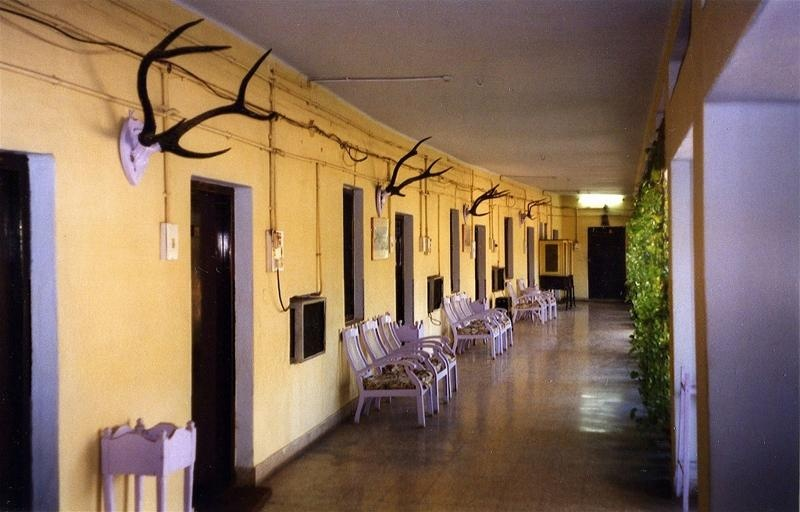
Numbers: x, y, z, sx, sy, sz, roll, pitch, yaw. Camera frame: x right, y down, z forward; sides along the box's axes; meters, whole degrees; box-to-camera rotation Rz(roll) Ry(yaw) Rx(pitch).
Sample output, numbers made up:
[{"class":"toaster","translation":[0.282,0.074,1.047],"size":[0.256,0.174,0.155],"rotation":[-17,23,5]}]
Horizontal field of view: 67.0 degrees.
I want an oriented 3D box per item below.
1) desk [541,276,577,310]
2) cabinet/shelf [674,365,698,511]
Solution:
[{"class":"desk","translation":[4.976,1.086,19.083],"size":[0.841,0.486,1.507],"rotation":[23,5,26]},{"class":"cabinet/shelf","translation":[2.322,1.537,4.937],"size":[0.159,1.217,0.660],"rotation":[0,4,25]}]
